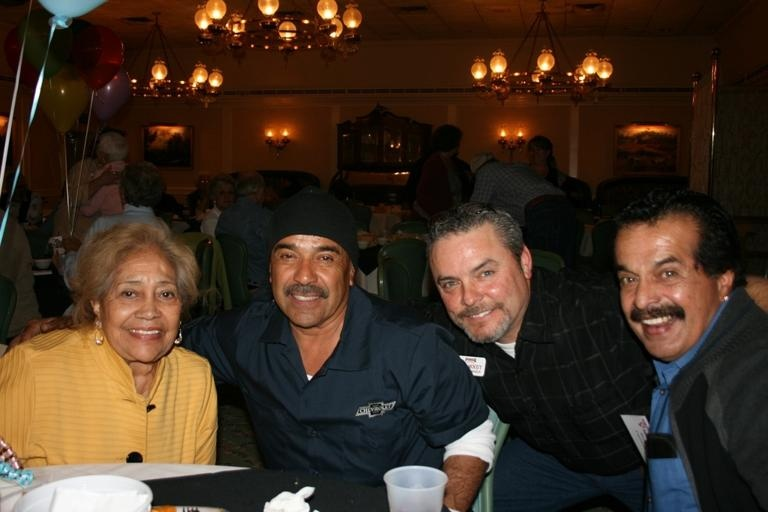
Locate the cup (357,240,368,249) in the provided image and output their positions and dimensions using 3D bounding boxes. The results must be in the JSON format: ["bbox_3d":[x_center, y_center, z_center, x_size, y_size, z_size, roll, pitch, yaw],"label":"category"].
[{"bbox_3d":[-0.206,-0.105,6.113,0.114,0.052,0.115,0,-1,0],"label":"cup"}]

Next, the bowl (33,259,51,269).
[{"bbox_3d":[-2.883,0.071,5.306,0.098,0.051,0.098,0,-4,0],"label":"bowl"}]

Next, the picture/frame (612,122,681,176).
[{"bbox_3d":[5.722,-2.344,13.604,1.174,1.029,0.120,1,14,12],"label":"picture/frame"}]

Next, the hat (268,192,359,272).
[{"bbox_3d":[-0.302,-0.157,2.975,0.343,0.292,0.349,4,-22,4],"label":"hat"}]
